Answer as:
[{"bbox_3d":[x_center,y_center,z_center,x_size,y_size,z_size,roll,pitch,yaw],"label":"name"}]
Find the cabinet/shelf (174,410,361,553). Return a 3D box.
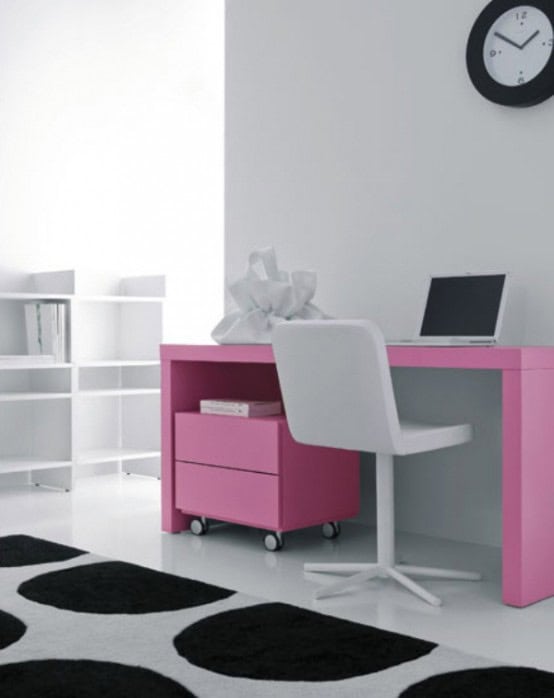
[{"bbox_3d":[-0.035,0.412,2.514,0.695,0.481,0.485,-1,0,44],"label":"cabinet/shelf"}]

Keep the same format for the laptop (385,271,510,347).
[{"bbox_3d":[0.554,-0.122,2.093,0.283,0.231,0.327,-1,2,-40],"label":"laptop"}]

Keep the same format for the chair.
[{"bbox_3d":[0.142,0.295,2.159,0.728,0.955,0.755,0,0,-41],"label":"chair"}]
